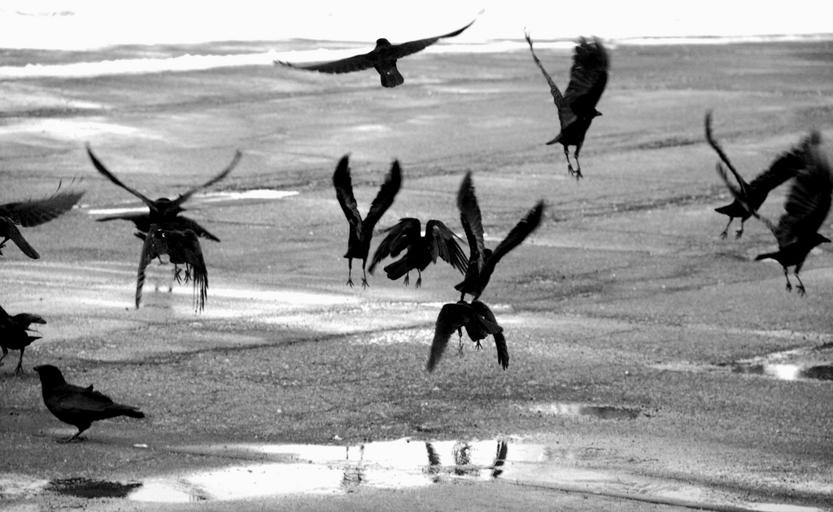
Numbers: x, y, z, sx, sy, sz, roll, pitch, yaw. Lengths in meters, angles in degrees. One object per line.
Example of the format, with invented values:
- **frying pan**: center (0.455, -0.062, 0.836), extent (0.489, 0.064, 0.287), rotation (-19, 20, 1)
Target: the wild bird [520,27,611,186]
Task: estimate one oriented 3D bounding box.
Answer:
- **wild bird**: center (2.606, -2.436, 29.250), extent (1.115, 2.365, 1.061), rotation (1, 11, 3)
